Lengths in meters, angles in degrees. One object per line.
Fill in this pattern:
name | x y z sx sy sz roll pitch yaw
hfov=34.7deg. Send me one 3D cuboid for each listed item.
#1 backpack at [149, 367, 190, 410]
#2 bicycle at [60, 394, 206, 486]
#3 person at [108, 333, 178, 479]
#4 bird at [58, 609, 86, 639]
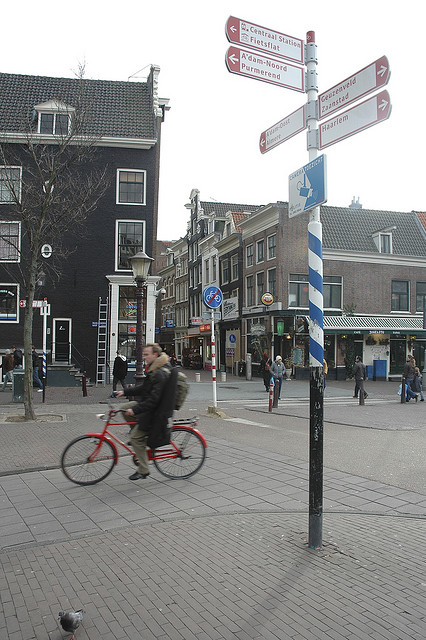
backpack | -0.384 0.697 7.292 0.429 0.515 0.334 0 6 -26
bicycle | -0.901 1.292 7.590 1.616 1.119 0.744 2 -1 -15
person | -0.686 0.963 7.106 0.650 1.446 0.688 0 -2 -7
bird | -0.773 1.634 3.720 0.126 0.115 0.200 0 -2 -9
